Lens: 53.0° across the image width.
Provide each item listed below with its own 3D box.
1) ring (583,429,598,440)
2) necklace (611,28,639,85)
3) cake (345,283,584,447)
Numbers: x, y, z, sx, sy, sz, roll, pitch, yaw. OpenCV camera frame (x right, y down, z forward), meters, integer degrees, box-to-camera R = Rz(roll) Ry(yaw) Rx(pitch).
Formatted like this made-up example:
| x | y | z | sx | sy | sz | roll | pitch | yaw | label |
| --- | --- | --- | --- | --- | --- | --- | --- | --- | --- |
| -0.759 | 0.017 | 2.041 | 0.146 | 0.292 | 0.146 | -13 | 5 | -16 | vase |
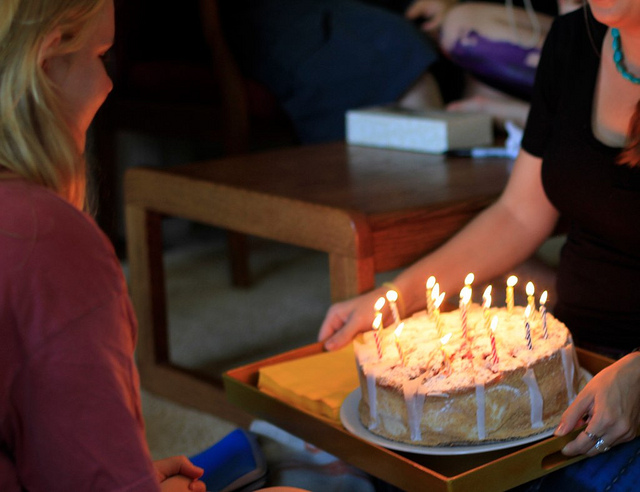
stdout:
| x | y | z | sx | sy | sz | roll | pitch | yaw | label |
| --- | --- | --- | --- | --- | --- | --- | --- | --- | --- |
| 0.372 | 0.260 | 0.887 | 0.013 | 0.014 | 0.004 | 29 | 90 | 41 | ring |
| 0.590 | -0.373 | 1.257 | 0.028 | 0.084 | 0.098 | -11 | 37 | -7 | necklace |
| 0.254 | 0.190 | 1.065 | 0.357 | 0.181 | 0.372 | -11 | 3 | -25 | cake |
